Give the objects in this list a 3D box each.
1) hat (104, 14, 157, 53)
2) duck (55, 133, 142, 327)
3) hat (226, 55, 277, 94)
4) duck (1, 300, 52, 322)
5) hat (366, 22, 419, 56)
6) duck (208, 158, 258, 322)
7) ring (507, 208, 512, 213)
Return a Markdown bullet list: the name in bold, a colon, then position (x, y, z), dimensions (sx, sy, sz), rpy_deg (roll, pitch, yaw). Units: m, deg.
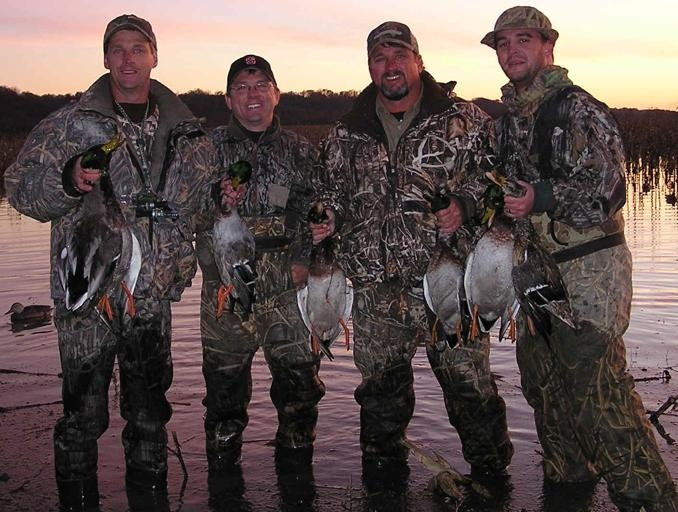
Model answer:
- **hat**: position (-1.687, -1.820, 5.970), dimensions (0.361, 0.247, 0.493), rpy_deg (-2, -8, -13)
- **duck**: position (-1.792, -0.025, 5.592), dimensions (0.596, 1.191, 0.395), rpy_deg (-6, 13, -15)
- **hat**: position (-0.773, -1.696, 6.696), dimensions (0.399, 0.270, 0.528), rpy_deg (-2, -7, -9)
- **duck**: position (-4.588, 0.800, 11.091), dimensions (0.747, 0.350, 0.277), rpy_deg (-3, 1, -13)
- **hat**: position (0.421, -1.816, 6.131), dimensions (0.401, 0.268, 0.537), rpy_deg (-5, 13, 6)
- **duck**: position (-0.883, -0.138, 6.260), dimensions (0.351, 1.335, 0.464), rpy_deg (-4, 12, -10)
- **ring**: position (1.193, -0.323, 5.210), dimensions (0.034, 0.020, 0.033), rpy_deg (25, 11, -5)
